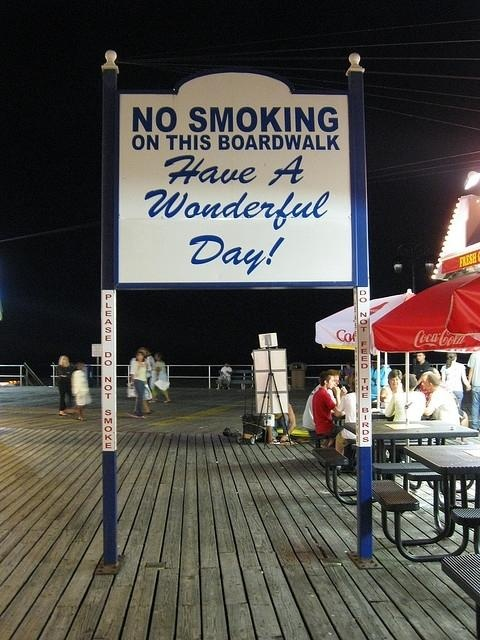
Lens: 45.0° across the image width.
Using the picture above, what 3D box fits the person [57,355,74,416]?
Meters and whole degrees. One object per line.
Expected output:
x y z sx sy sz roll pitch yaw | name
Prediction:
-4.145 1.577 13.804 0.339 1.444 1.925 1 -5 -17 | person

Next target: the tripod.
0.565 1.316 10.156 0.610 1.638 0.599 -1 -5 2 | tripod

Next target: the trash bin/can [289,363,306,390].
2.184 2.122 21.845 0.782 1.181 0.822 1 3 3 | trash bin/can

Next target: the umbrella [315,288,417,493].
1.683 0.788 8.756 1.846 1.598 2.105 -5 9 11 | umbrella

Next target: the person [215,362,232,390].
-0.561 2.236 22.847 0.577 0.971 1.248 -1 -4 -2 | person

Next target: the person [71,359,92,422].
-3.722 1.662 13.613 0.414 1.272 2.137 0 -4 -16 | person
